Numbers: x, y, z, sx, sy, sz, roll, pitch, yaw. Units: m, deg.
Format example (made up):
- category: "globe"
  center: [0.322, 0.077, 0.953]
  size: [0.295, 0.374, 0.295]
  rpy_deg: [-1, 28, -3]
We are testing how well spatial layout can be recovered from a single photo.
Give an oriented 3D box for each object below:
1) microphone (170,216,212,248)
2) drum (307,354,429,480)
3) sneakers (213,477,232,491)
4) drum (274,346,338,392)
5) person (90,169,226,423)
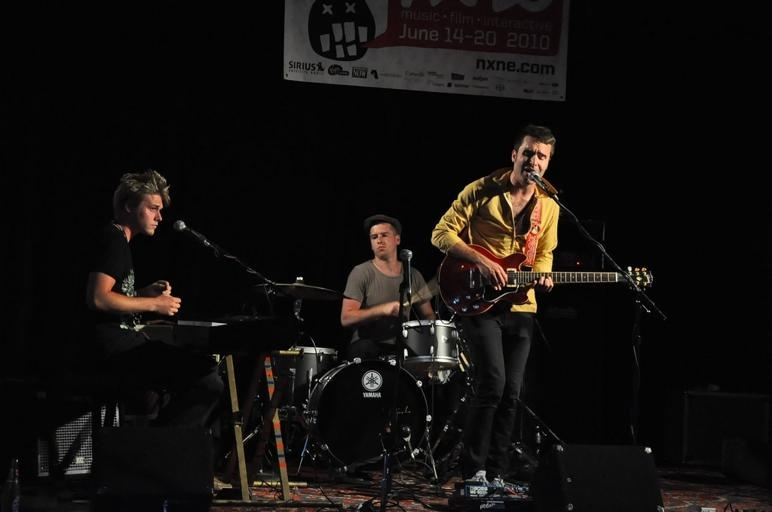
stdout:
- category: "microphone"
  center: [-1.745, -0.209, 6.241]
  size: [0.488, 0.140, 0.143]
  rpy_deg: [32, -12, -29]
- category: "drum"
  center: [0.072, 1.339, 5.867]
  size: [1.078, 0.920, 1.093]
  rpy_deg: [-5, -11, 44]
- category: "sneakers"
  center: [-1.247, 1.750, 5.408]
  size: [0.120, 0.050, 0.458]
  rpy_deg: [5, -9, -15]
- category: "drum"
  center: [-0.728, 0.946, 6.107]
  size: [0.414, 0.375, 0.422]
  rpy_deg: [-1, -5, 21]
- category: "person"
  center: [-1.675, 0.249, 5.038]
  size: [0.868, 1.843, 1.034]
  rpy_deg: [10, -11, -42]
